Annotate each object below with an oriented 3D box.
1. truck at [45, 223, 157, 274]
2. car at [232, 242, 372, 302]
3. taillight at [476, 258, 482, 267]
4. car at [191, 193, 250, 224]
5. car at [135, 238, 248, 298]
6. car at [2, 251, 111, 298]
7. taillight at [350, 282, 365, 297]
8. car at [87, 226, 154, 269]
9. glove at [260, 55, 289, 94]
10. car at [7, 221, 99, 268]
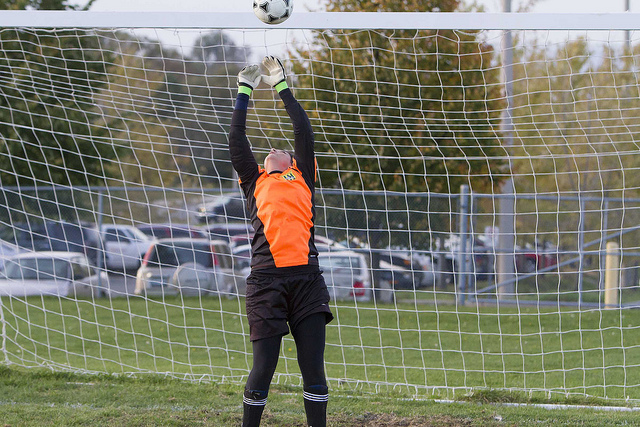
[{"bbox_3d":[-5.822,0.901,33.268,2.861,1.189,1.426,-2,0,-7],"label":"truck"},{"bbox_3d":[-0.077,1.223,30.905,2.652,1.202,1.570,6,-8,-3],"label":"car"},{"bbox_3d":[3.814,1.212,31.215,0.140,0.101,0.158,15,-30,-31],"label":"taillight"},{"bbox_3d":[-2.516,-0.003,34.307,1.760,0.791,1.049,2,2,17],"label":"car"},{"bbox_3d":[-3.291,1.453,31.562,1.664,1.229,2.630,0,1,7],"label":"car"},{"bbox_3d":[-6.243,1.549,31.289,2.496,1.078,1.502,-2,-3,21],"label":"car"},{"bbox_3d":[0.872,1.839,31.105,0.360,0.316,0.333,-1,-10,10],"label":"taillight"},{"bbox_3d":[-5.234,0.931,34.380,2.187,0.974,1.060,-1,1,-2],"label":"car"},{"bbox_3d":[-0.863,-2.655,24.843,0.530,0.722,0.253,-1,-10,10],"label":"glove"},{"bbox_3d":[-6.520,0.888,32.195,2.175,1.049,1.361,0,1,-24],"label":"car"}]
